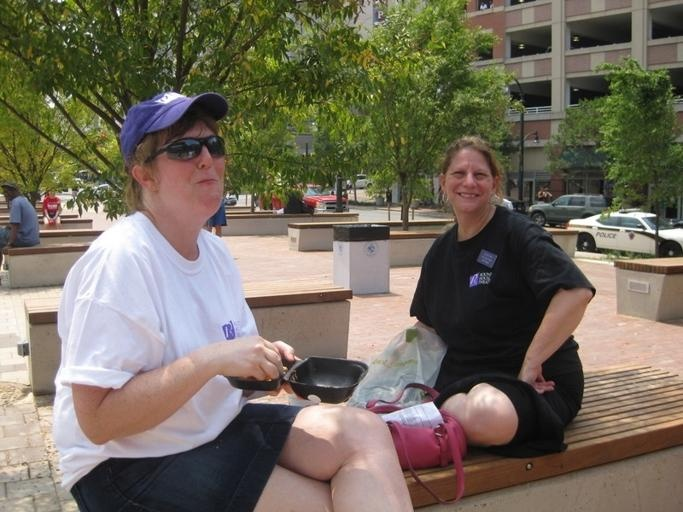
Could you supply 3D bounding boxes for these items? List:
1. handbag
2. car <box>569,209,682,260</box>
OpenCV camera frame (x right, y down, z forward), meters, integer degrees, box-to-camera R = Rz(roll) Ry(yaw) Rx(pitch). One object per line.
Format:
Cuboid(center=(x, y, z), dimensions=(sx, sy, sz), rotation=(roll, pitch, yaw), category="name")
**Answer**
Cuboid(center=(0.421, 0.884, 2.728), dimensions=(0.335, 0.161, 0.267), rotation=(1, -1, -8), category="handbag")
Cuboid(center=(9.788, -0.716, 18.539), dimensions=(1.635, 1.377, 3.828), rotation=(-1, 0, -31), category="car")
